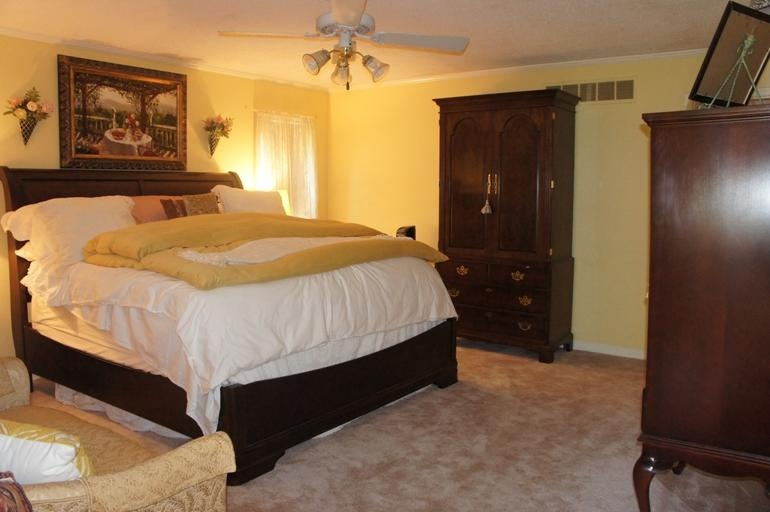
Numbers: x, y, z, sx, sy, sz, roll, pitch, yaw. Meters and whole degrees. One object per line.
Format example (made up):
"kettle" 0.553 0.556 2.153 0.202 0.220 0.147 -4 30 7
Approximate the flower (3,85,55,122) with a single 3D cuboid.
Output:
"flower" -3.045 -1.301 4.884 0.379 0.298 0.174 -10 17 -38

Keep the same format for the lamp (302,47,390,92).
"lamp" -0.286 -1.327 3.926 0.506 0.188 0.485 -17 53 -38

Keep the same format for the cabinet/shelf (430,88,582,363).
"cabinet/shelf" 1.202 -0.312 5.686 1.431 2.591 0.795 5 14 17

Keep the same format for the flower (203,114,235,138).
"flower" -1.786 -1.375 6.149 0.279 0.188 0.267 -9 12 -39
